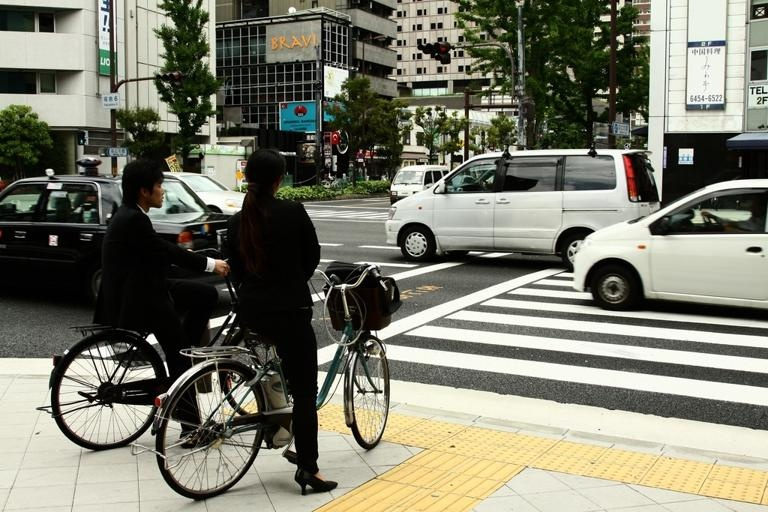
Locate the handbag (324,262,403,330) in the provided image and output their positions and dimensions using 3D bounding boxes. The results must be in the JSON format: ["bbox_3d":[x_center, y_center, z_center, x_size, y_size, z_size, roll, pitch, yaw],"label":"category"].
[{"bbox_3d":[-0.133,0.442,6.244,0.470,0.386,0.635,-14,6,19],"label":"handbag"}]

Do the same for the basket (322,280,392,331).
[{"bbox_3d":[-0.203,0.453,5.981,0.521,0.324,0.386,-17,13,-1],"label":"basket"}]

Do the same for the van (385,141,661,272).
[{"bbox_3d":[3.029,-1.191,15.878,5.284,2.374,2.673,3,5,23],"label":"van"}]

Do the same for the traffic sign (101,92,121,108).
[{"bbox_3d":[-11.777,-6.774,30.334,0.712,0.642,0.520,5,9,37],"label":"traffic sign"}]

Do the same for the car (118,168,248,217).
[{"bbox_3d":[-4.897,-1.848,20.382,4.270,1.483,1.949,3,7,29],"label":"car"}]

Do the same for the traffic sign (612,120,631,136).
[{"bbox_3d":[9.081,-4.884,26.837,0.439,0.444,1.915,4,8,28],"label":"traffic sign"}]

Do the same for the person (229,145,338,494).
[{"bbox_3d":[-0.810,0.516,5.554,0.825,2.704,0.421,0,7,-1],"label":"person"}]

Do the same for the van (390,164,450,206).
[{"bbox_3d":[1.959,-4.278,39.637,2.590,2.334,4.221,0,2,25],"label":"van"}]
